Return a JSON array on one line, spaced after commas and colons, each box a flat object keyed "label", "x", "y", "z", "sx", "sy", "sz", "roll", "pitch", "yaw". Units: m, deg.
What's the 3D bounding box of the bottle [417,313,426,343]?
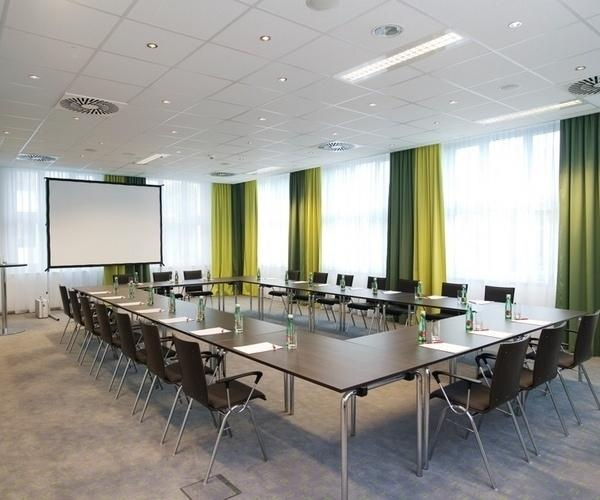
[{"label": "bottle", "x": 1.185, "y": 0.739, "z": 4.089, "sx": 0.073, "sy": 0.282, "sz": 0.309, "roll": 0, "pitch": 3, "yaw": 16}]

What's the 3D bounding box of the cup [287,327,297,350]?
[{"label": "cup", "x": -0.081, "y": 0.816, "z": 3.964, "sx": 0.091, "sy": 0.173, "sz": 0.185, "roll": -1, "pitch": 3, "yaw": -1}]

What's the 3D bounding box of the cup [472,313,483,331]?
[{"label": "cup", "x": 1.868, "y": 0.780, "z": 4.561, "sx": 0.175, "sy": 0.169, "sz": 0.158, "roll": -2, "pitch": -3, "yaw": 14}]
